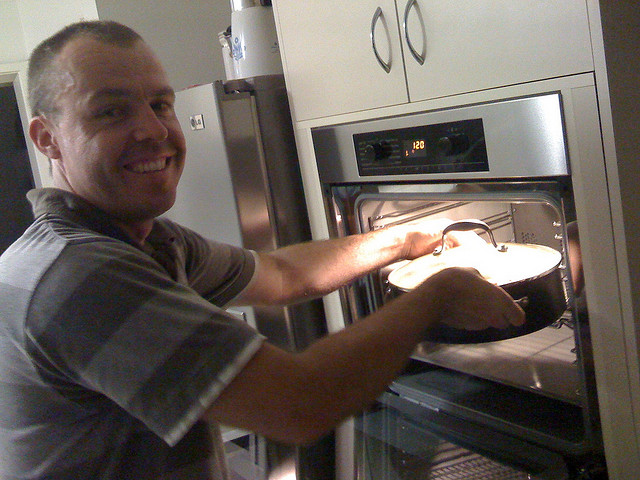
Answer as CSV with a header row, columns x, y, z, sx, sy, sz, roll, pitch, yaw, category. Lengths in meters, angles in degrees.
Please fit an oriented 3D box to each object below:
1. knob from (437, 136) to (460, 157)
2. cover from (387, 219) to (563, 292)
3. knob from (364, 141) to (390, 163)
x,y,z,sx,sy,sz,roll,pitch,yaw,category
0.307,-0.222,1.205,0.046,0.040,0.057,1,3,43,knob
0.415,0.062,1.353,0.303,0.137,0.234,-9,16,29,cover
0.176,-0.241,1.404,0.062,0.054,0.059,-19,-2,-32,knob
